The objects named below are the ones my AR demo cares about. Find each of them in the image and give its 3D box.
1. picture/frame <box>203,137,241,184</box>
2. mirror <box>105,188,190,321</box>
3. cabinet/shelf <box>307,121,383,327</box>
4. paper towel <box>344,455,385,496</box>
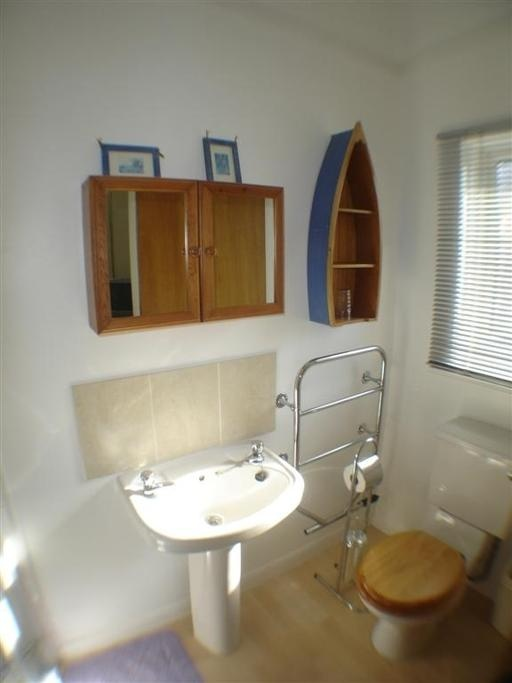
[{"bbox_3d":[-0.091,-0.460,1.338,0.125,0.177,0.011,-8,8,-41],"label":"picture/frame"},{"bbox_3d":[-0.244,-0.198,1.140,0.195,0.404,0.038,-14,23,-41],"label":"mirror"},{"bbox_3d":[0.282,-0.342,1.592,0.232,0.576,0.169,-9,13,-29],"label":"cabinet/shelf"},{"bbox_3d":[0.318,0.420,1.568,0.119,0.127,0.094,-7,16,-37],"label":"paper towel"}]
